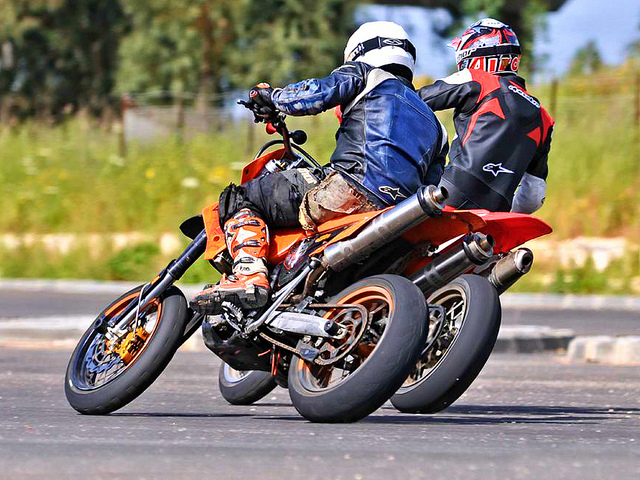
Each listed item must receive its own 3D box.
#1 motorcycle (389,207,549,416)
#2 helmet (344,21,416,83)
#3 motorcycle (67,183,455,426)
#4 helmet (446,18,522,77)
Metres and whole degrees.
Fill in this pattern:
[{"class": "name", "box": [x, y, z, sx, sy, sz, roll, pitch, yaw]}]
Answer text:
[{"class": "motorcycle", "box": [0.917, 0.459, 5.647, 0.747, 1.323, 0.628, 7, 6, -7]}, {"class": "helmet", "box": [0.406, -1.218, 5.813, 0.446, 0.371, 0.434, 6, 6, -6]}, {"class": "motorcycle", "box": [-0.208, 0.426, 6.131, 2.339, 1.784, 1.739, 9, 6, 23]}, {"class": "helmet", "box": [1.310, -1.483, 7.067, 0.514, 0.434, 0.617, -12, 14, -27]}]
